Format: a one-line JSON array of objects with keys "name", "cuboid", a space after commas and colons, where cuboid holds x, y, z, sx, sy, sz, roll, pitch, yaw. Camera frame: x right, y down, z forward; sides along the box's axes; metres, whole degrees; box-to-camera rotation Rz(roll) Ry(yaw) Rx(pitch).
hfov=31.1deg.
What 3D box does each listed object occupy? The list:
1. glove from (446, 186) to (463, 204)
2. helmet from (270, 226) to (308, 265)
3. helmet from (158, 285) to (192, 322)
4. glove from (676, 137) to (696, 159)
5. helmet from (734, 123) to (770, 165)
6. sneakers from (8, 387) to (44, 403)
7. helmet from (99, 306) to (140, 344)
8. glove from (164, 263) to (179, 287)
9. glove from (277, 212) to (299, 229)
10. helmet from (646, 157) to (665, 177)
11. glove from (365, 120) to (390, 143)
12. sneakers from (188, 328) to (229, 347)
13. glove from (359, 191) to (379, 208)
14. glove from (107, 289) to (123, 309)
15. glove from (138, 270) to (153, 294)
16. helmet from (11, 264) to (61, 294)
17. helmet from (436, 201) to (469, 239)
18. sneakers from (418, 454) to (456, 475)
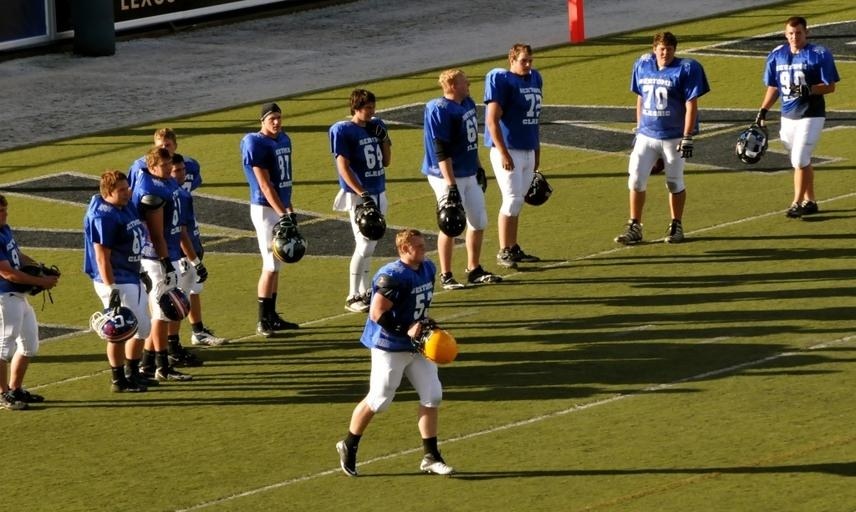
[{"name": "glove", "cuboid": [0.386, -0.903, 23.315, 0.113, 0.258, 0.230, 1, 12, 43]}, {"name": "helmet", "cuboid": [-2.030, -0.135, 22.494, 0.562, 0.389, 0.582, 1, 5, -23]}, {"name": "helmet", "cuboid": [-3.560, 0.721, 21.658, 0.469, 0.470, 0.495, -34, 0, -7]}, {"name": "glove", "cuboid": [4.092, -1.704, 24.468, 0.311, 0.284, 0.133, 9, 13, 8]}, {"name": "helmet", "cuboid": [5.346, -1.788, 25.778, 0.594, 0.513, 0.554, 2, -28, -7]}, {"name": "sneakers", "cuboid": [-5.635, 1.965, 21.418, 0.553, 0.166, 0.166, 1, 13, -22]}, {"name": "helmet", "cuboid": [-4.361, 0.983, 21.112, 0.708, 0.387, 0.517, -4, 3, -37]}, {"name": "glove", "cuboid": [-3.624, 0.281, 21.729, 0.153, 0.332, 0.448, -8, 8, 0]}, {"name": "glove", "cuboid": [-2.092, -0.497, 22.619, 0.266, 0.249, 0.270, -7, 8, -9]}, {"name": "helmet", "cuboid": [3.702, -1.401, 25.047, 0.271, 0.236, 0.231, -3, -17, 14]}, {"name": "glove", "cuboid": [-0.782, -1.855, 23.192, 0.220, 0.368, 0.289, -4, 9, 20]}, {"name": "sneakers", "cuboid": [-3.254, 1.246, 22.612, 0.620, 0.189, 0.199, 1, 11, 1]}, {"name": "glove", "cuboid": [-0.908, -0.803, 23.047, 0.213, 0.253, 0.118, -27, 17, 8]}, {"name": "glove", "cuboid": [-4.273, 0.609, 20.992, 0.235, 0.231, 0.087, 5, -4, -26]}, {"name": "glove", "cuboid": [-3.942, 0.380, 21.509, 0.119, 0.273, 0.201, -25, 28, 22]}, {"name": "helmet", "cuboid": [-5.401, 0.331, 21.157, 0.639, 0.236, 0.387, 8, 16, -11]}, {"name": "helmet", "cuboid": [0.385, -0.542, 23.467, 0.625, 0.482, 0.468, 5, -31, -16]}, {"name": "sneakers", "cuboid": [0.083, 2.713, 19.920, 0.585, 0.199, 0.194, 4, 6, 15]}]
